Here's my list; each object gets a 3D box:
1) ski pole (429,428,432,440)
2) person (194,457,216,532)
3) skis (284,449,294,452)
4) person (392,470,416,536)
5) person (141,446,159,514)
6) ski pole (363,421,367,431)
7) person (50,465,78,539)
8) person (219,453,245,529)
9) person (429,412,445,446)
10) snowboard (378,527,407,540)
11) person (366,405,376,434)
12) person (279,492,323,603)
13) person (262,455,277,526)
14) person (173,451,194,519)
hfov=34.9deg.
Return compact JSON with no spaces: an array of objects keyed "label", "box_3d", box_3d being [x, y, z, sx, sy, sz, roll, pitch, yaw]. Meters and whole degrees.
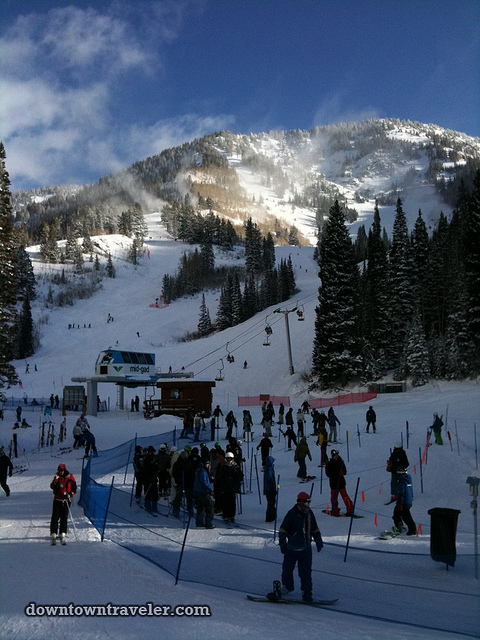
[{"label":"ski pole","box_3d":[7.301,4.346,29.312,0.035,0.354,0.037,13,-1,-4]},{"label":"person","box_3d":[-0.813,3.989,17.356,0.455,1.316,1.075,-2,2,-4]},{"label":"skis","box_3d":[1.805,5.030,29.345,0.196,0.027,0.407,-4,3,29]},{"label":"person","box_3d":[3.585,4.031,16.700,0.478,1.575,0.773,-2,2,9]},{"label":"person","box_3d":[-2.180,3.830,18.780,0.426,1.675,0.407,-8,25,-19]},{"label":"ski pole","box_3d":[5.317,4.568,32.723,0.062,0.050,1.189,-3,3,14]},{"label":"person","box_3d":[-3.826,3.769,16.410,0.522,1.434,2.807,-3,2,-14]},{"label":"person","box_3d":[-0.210,3.953,18.402,0.462,1.781,0.494,5,15,7]},{"label":"person","box_3d":[6.920,3.781,26.896,0.388,1.168,1.687,-2,3,15]},{"label":"snowboard","box_3d":[3.403,4.763,17.021,0.745,0.189,0.146,-5,-17,-26]},{"label":"person","box_3d":[5.212,4.041,30.711,0.336,0.673,0.991,-2,2,10]},{"label":"person","box_3d":[1.014,3.894,13.040,0.726,1.294,0.642,-3,1,-2]},{"label":"person","box_3d":[0.715,4.092,18.223,0.295,1.204,0.879,-2,2,1]},{"label":"person","box_3d":[-1.370,3.919,18.040,0.427,1.874,0.473,3,21,4]}]
